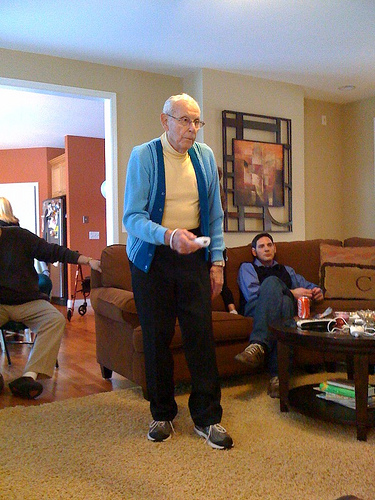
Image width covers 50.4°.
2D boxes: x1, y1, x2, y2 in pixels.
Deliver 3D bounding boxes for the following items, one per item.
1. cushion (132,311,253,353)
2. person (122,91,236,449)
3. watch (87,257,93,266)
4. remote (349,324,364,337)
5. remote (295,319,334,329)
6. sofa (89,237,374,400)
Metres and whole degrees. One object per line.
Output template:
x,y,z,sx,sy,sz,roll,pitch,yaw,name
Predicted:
0.056,0.461,2.283,0.788,0.181,0.227,3,-6,-37,cushion
0.003,0.083,1.482,0.435,1.287,0.444,-5,-6,43,person
-0.592,0.066,2.414,0.031,0.024,0.032,-1,2,-8,watch
0.680,0.323,1.601,0.025,0.029,0.093,-1,2,10,remote
0.572,0.336,1.808,0.179,0.036,0.042,1,-5,-23,remote
0.248,0.372,2.715,1.660,0.947,0.793,2,-6,-29,sofa
